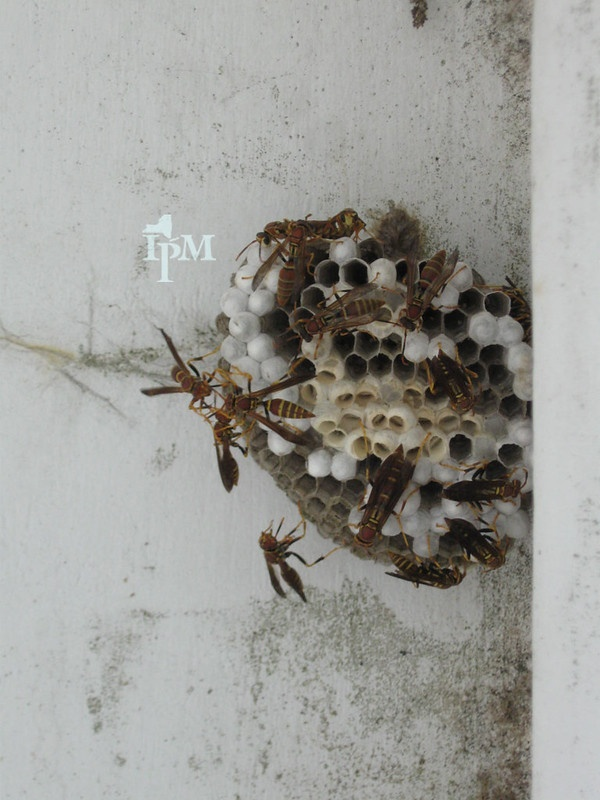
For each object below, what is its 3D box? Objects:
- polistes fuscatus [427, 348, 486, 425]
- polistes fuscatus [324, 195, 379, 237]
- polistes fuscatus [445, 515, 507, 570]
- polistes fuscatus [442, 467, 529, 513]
[{"bbox_3d":[0.882,-0.082,6.493,0.390,0.294,0.136,56,39,-15],"label":"polistes fuscatus"},{"bbox_3d":[0.336,-1.107,7.105,0.283,0.109,0.304,0,46,-1],"label":"polistes fuscatus"},{"bbox_3d":[1.025,0.805,6.793,0.274,0.112,0.357,-41,78,-15],"label":"polistes fuscatus"},{"bbox_3d":[1.071,0.523,6.673,0.501,0.316,0.187,-7,82,1],"label":"polistes fuscatus"}]
